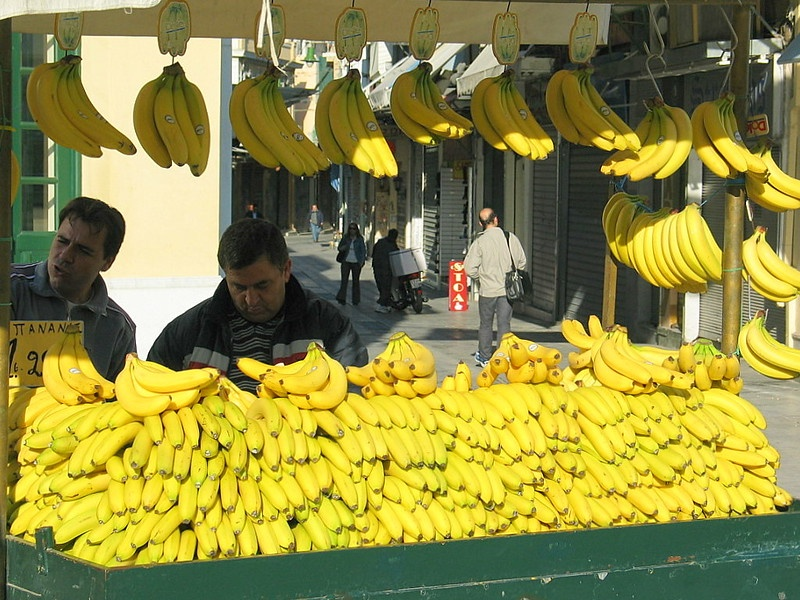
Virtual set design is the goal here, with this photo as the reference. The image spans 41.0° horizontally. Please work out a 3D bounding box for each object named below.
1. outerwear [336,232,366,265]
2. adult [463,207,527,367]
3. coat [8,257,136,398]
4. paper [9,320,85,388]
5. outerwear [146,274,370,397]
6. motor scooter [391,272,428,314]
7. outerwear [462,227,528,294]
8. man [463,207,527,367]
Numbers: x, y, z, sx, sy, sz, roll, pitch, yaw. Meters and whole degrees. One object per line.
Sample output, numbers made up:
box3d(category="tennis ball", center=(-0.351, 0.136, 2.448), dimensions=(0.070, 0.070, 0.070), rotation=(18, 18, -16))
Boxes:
box3d(category="outerwear", center=(-0.921, -0.965, 20.520), dimensions=(0.674, 0.858, 0.457), rotation=(0, -3, -5))
box3d(category="adult", center=(1.223, -0.211, 14.084), dimensions=(0.658, 2.167, 0.613), rotation=(-2, 23, -2))
box3d(category="coat", center=(-1.908, 0.169, 6.137), dimensions=(0.472, 0.601, 0.276), rotation=(18, 7, -34))
box3d(category="paper", center=(-1.909, 0.280, 5.769), dimensions=(0.288, 0.285, 0.045), rotation=(-2, 6, -6))
box3d(category="outerwear", center=(-0.940, 0.211, 6.442), dimensions=(0.779, 0.810, 0.493), rotation=(0, 0, -2))
box3d(category="motor scooter", center=(0.170, -0.149, 19.507), dimensions=(0.393, 0.620, 0.813), rotation=(-7, 9, -15))
box3d(category="outerwear", center=(1.198, -0.549, 13.992), dimensions=(0.962, 1.307, 0.693), rotation=(-1, 11, 2))
box3d(category="man", center=(1.264, -0.252, 14.136), dimensions=(0.679, 2.237, 0.712), rotation=(1, 30, 7))
